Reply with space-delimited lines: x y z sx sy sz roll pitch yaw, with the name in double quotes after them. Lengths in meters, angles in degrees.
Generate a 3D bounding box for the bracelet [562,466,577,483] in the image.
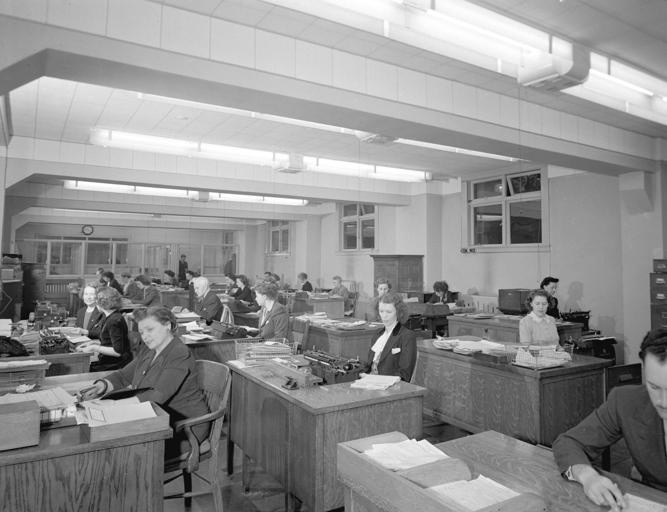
1.296 1.197 2.945 0.057 0.048 0.028 -2 -2 18 "bracelet"

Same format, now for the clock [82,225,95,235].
-7.850 -0.818 17.038 0.376 0.333 0.132 0 -2 -39 "clock"
